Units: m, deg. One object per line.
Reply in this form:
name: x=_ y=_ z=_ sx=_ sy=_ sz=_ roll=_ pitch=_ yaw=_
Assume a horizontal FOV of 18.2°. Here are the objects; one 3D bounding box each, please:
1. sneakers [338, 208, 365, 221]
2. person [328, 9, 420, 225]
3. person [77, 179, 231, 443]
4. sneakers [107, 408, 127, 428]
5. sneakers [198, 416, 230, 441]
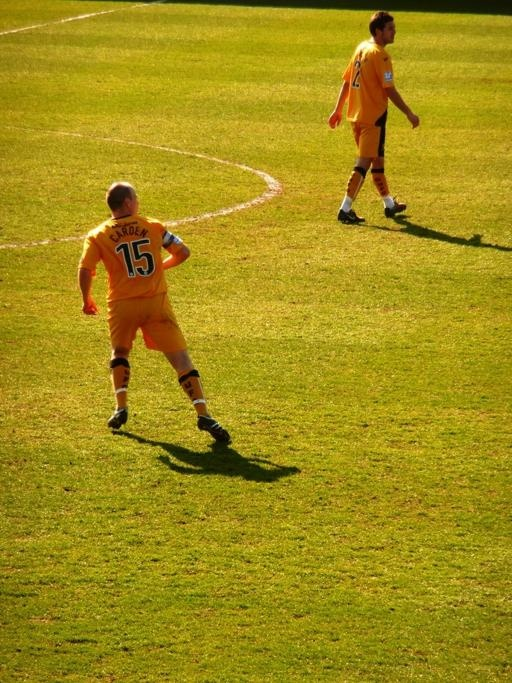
sneakers: x=0.856 y=-1.113 z=14.321 sx=0.267 sy=0.142 sz=0.090 roll=-1 pitch=40 yaw=-24
person: x=1.044 y=-1.997 z=14.255 sx=0.727 sy=1.862 sz=1.004 roll=-1 pitch=16 yaw=1
person: x=-0.668 y=-0.066 z=9.805 sx=0.789 sy=1.341 sz=0.661 roll=-3 pitch=16 yaw=-7
sneakers: x=-0.855 y=0.487 z=9.857 sx=0.091 sy=0.066 sz=0.181 roll=18 pitch=-23 yaw=-9
sneakers: x=-0.252 y=0.525 z=9.811 sx=0.203 sy=0.195 sz=0.252 roll=-2 pitch=15 yaw=-2
